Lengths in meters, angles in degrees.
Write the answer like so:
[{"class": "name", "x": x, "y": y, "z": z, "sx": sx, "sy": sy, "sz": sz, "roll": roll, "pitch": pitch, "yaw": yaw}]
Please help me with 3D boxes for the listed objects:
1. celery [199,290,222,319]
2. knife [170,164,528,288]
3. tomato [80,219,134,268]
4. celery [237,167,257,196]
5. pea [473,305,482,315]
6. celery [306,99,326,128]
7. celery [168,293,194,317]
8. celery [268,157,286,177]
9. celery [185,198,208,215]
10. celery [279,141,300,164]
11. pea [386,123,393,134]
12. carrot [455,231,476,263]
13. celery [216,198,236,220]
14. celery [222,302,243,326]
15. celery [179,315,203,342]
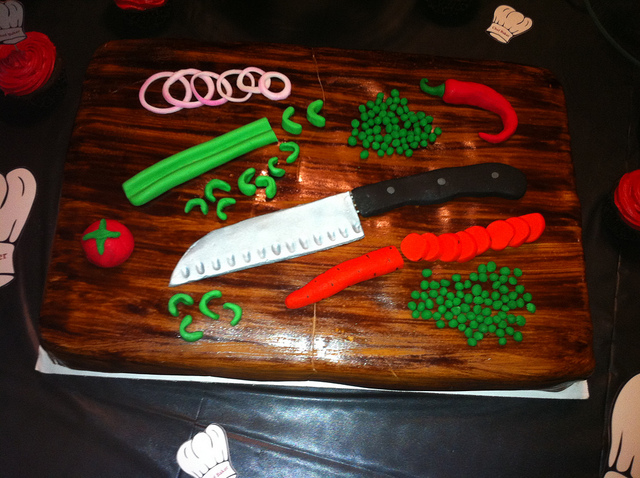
[{"class": "celery", "x": -0.300, "y": 0.175, "z": 1.576, "sx": 0.057, "sy": 0.019, "sz": 0.076, "roll": 7, "pitch": 73, "yaw": -1}, {"class": "knife", "x": 0.074, "y": -0.025, "z": 1.625, "sx": 0.960, "sy": 0.047, "sz": 0.183, "roll": -15, "pitch": 72, "yaw": -4}, {"class": "tomato", "x": -0.582, "y": 0.013, "z": 1.592, "sx": 0.125, "sy": 0.059, "sz": 0.116, "roll": -43, "pitch": 80, "yaw": -14}, {"class": "celery", "x": -0.213, "y": -0.168, "z": 1.677, "sx": 0.062, "sy": 0.098, "sz": 0.026, "roll": -36, "pitch": 75, "yaw": -13}, {"class": "pea", "x": 0.438, "y": 0.194, "z": 1.604, "sx": 0.027, "sy": 0.009, "sz": 0.023, "roll": 0, "pitch": 73, "yaw": -3}, {"class": "celery", "x": -0.015, "y": -0.371, "z": 1.697, "sx": 0.061, "sy": 0.036, "sz": 0.110, "roll": -3, "pitch": 67, "yaw": 2}, {"class": "celery", "x": -0.384, "y": 0.173, "z": 1.575, "sx": 0.068, "sy": 0.026, "sz": 0.050, "roll": -41, "pitch": 80, "yaw": -14}, {"class": "celery", "x": -0.123, "y": -0.205, "z": 1.674, "sx": 0.044, "sy": 0.016, "sz": 0.071, "roll": -20, "pitch": 65, "yaw": -7}, {"class": "celery", "x": -0.350, "y": -0.095, "z": 1.637, "sx": 0.062, "sy": 0.024, "sz": 0.042, "roll": 5, "pitch": 73, "yaw": -2}, {"class": "celery", "x": -0.088, "y": -0.251, "z": 1.694, "sx": 0.053, "sy": 0.025, "sz": 0.074, "roll": -24, "pitch": 76, "yaw": -3}, {"class": "pea", "x": 0.204, "y": -0.327, "z": 1.698, "sx": 0.019, "sy": 0.013, "sz": 0.026, "roll": 4, "pitch": 81, "yaw": 12}, {"class": "carrot", "x": 0.407, "y": 0.016, "z": 1.617, "sx": 0.056, "sy": 0.035, "sz": 0.077, "roll": 6, "pitch": 73, "yaw": -1}, {"class": "celery", "x": -0.270, "y": -0.092, "z": 1.635, "sx": 0.043, "sy": 0.030, "sz": 0.067, "roll": 24, "pitch": 73, "yaw": 4}, {"class": "celery", "x": -0.233, "y": 0.198, "z": 1.572, "sx": 0.048, "sy": 0.021, "sz": 0.067, "roll": -25, "pitch": 76, "yaw": -10}, {"class": "celery", "x": -0.353, "y": 0.246, "z": 1.561, "sx": 0.053, "sy": 0.020, "sz": 0.071, "roll": -34, "pitch": 78, "yaw": -12}]
